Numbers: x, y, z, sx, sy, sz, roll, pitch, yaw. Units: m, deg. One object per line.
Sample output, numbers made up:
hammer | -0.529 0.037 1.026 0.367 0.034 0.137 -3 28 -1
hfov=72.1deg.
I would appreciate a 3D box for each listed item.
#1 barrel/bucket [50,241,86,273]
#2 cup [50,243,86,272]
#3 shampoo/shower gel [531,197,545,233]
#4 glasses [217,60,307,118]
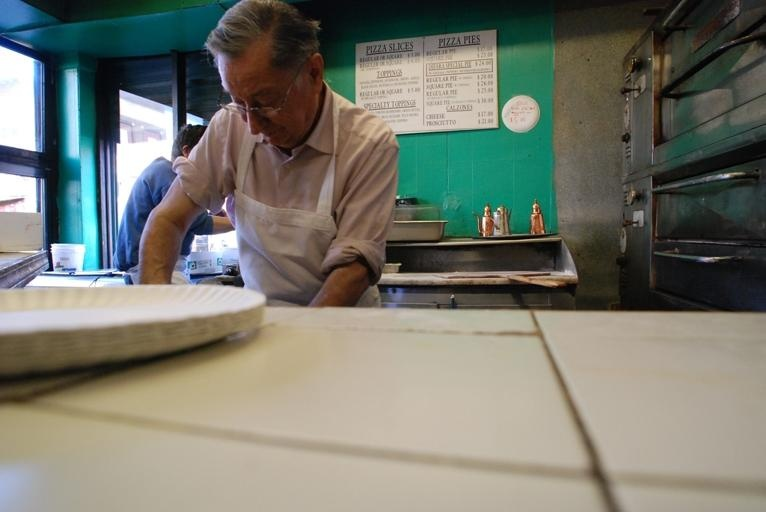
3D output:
barrel/bucket | -2.336 -0.001 3.922 0.222 0.174 0.202 1 -4 0
cup | -2.350 0.018 3.911 0.217 0.170 0.201 1 -4 0
shampoo/shower gel | 1.052 -0.271 3.595 0.096 0.229 0.315 0 4 16
glasses | -0.394 -0.498 1.596 0.286 0.161 0.112 0 4 16
